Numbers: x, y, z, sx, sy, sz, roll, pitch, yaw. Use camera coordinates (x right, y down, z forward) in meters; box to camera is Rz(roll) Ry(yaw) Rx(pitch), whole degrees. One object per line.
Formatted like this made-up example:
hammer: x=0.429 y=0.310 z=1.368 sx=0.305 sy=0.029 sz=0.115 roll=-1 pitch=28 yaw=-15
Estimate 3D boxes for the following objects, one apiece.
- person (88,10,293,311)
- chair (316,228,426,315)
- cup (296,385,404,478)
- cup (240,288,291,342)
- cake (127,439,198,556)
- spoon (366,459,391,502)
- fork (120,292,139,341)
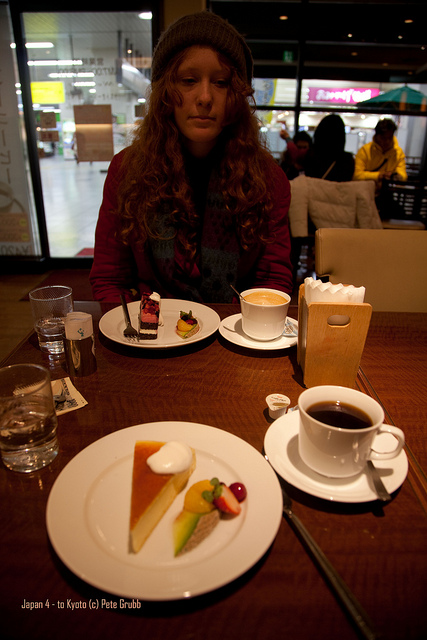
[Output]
person: x=-0.079 y=-0.565 z=1.762 sx=0.730 sy=1.218 sz=0.730 roll=-4 pitch=34 yaw=-10
chair: x=0.591 y=-0.258 z=1.883 sx=0.367 sy=0.547 sz=0.417 roll=-2 pitch=13 yaw=-2
cup: x=0.199 y=0.180 z=0.666 sx=0.111 sy=0.116 sz=0.142 roll=-22 pitch=31 yaw=-39
cup: x=0.133 y=-0.018 z=1.179 sx=0.126 sy=0.112 sz=0.190 roll=4 pitch=22 yaw=6
cake: x=-0.081 y=0.231 z=0.617 sx=0.089 sy=0.067 sz=0.177 roll=4 pitch=18 yaw=5
spoon: x=0.238 y=0.235 z=0.644 sx=0.022 sy=0.013 sz=0.176 roll=11 pitch=15 yaw=15
fork: x=-0.226 y=-0.034 z=1.224 sx=0.034 sy=0.020 sz=0.243 roll=2 pitch=38 yaw=-16
